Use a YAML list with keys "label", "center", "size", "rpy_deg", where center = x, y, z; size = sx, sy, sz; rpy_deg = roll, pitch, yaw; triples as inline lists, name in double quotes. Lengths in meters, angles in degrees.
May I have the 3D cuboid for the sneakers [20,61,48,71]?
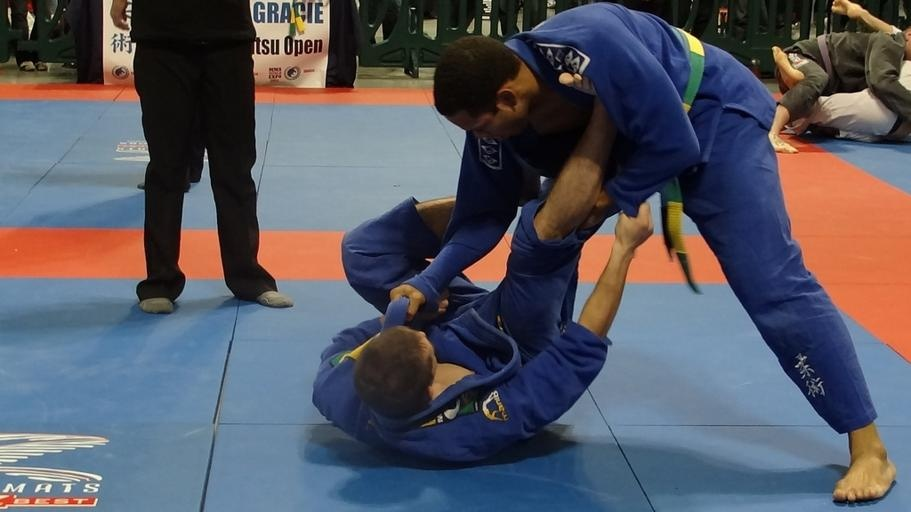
- label: "sneakers"
  center: [-6.732, -2.985, 11.921]
  size: [0.336, 0.102, 0.209]
  rpy_deg: [-1, 7, -23]
